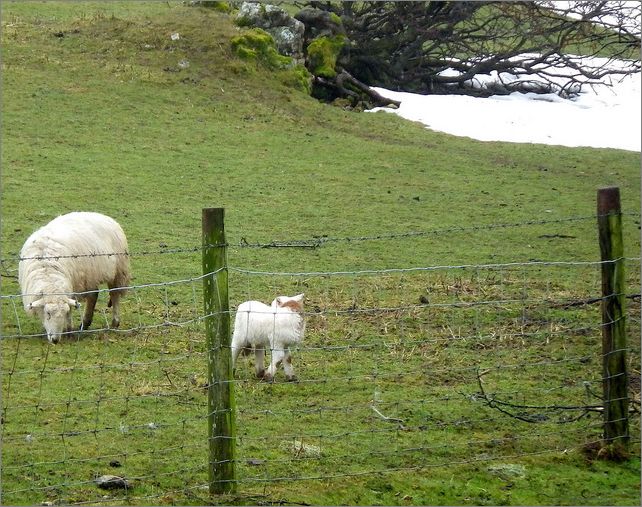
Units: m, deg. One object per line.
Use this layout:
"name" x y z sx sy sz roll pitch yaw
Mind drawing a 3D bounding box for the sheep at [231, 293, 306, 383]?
"sheep" -0.936 1.724 29.705 0.983 1.772 2.276 0 0 -40

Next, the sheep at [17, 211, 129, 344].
"sheep" -5.365 0.488 30.894 2.357 2.853 1.030 -2 0 -41
